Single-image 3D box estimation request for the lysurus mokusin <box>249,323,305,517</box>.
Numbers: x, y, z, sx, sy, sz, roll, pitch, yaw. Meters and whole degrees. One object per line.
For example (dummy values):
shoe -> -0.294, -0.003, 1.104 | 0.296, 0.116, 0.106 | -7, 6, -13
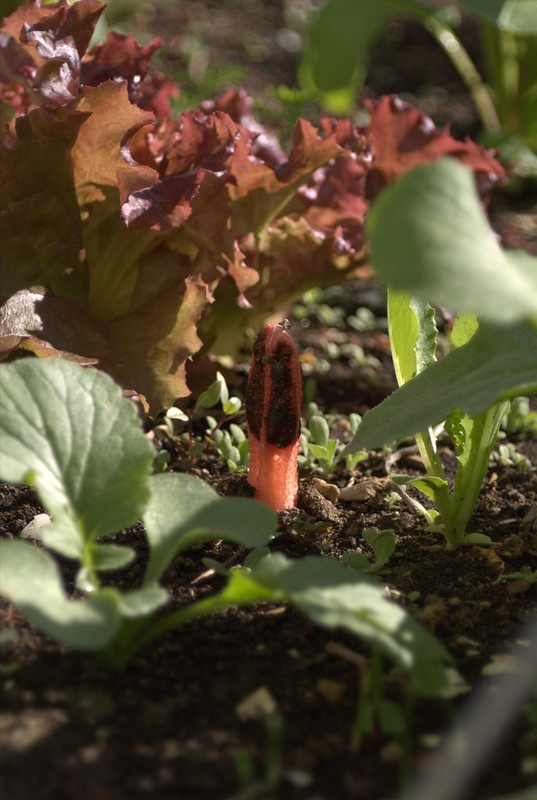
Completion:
lysurus mokusin -> 0.007, 0.032, 1.098 | 0.080, 0.301, 0.108 | 2, 33, 1
